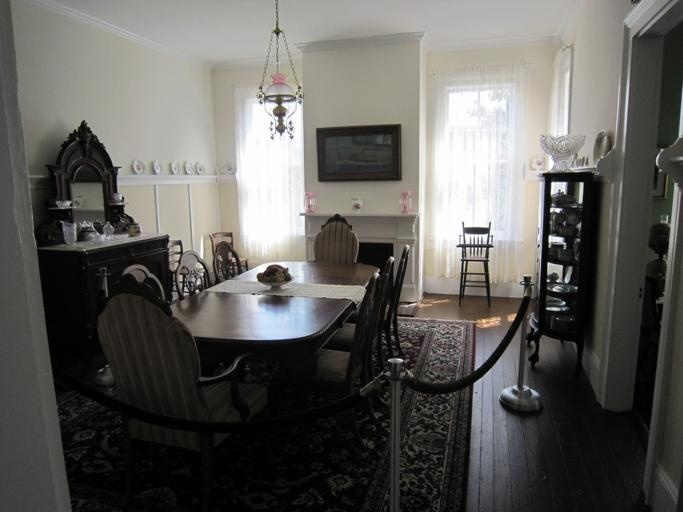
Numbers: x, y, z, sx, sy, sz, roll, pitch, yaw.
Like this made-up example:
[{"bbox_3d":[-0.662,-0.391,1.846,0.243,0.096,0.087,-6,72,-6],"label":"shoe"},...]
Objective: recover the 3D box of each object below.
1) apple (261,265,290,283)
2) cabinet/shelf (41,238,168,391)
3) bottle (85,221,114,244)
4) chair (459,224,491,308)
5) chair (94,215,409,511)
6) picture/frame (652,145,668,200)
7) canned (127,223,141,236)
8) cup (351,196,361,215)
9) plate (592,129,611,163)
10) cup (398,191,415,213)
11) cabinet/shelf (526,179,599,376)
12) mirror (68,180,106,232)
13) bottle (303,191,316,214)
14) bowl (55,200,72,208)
[{"bbox_3d":[-0.544,0.148,4.092,0.152,0.083,0.161,4,6,17],"label":"apple"},{"bbox_3d":[-1.794,0.430,3.599,0.571,1.117,1.096,0,10,8],"label":"cabinet/shelf"},{"bbox_3d":[-2.498,-0.245,5.075,0.305,0.334,0.187,2,-1,-19],"label":"bottle"},{"bbox_3d":[1.759,0.103,6.565,0.493,1.004,0.509,4,9,33],"label":"chair"},{"bbox_3d":[-0.452,0.656,3.143,1.648,1.165,1.766,-1,11,6],"label":"chair"},{"bbox_3d":[2.701,-0.751,4.201,0.272,0.410,0.026,-9,8,-35],"label":"picture/frame"},{"bbox_3d":[-2.353,-0.304,5.583,0.126,0.135,0.133,-2,7,-3],"label":"canned"},{"bbox_3d":[0.201,-0.700,6.546,0.145,0.190,0.155,-1,-2,0],"label":"cup"},{"bbox_3d":[2.161,-0.904,4.105,0.065,0.272,0.521,2,11,19],"label":"plate"},{"bbox_3d":[0.813,-0.702,6.390,0.235,0.345,0.205,-1,6,0],"label":"cup"},{"bbox_3d":[1.942,0.124,4.371,0.516,1.716,0.399,2,11,22],"label":"cabinet/shelf"},{"bbox_3d":[-2.674,-0.574,5.220,0.465,0.521,0.020,1,11,6],"label":"mirror"},{"bbox_3d":[-0.436,-0.738,6.738,0.131,0.278,0.134,-2,10,0],"label":"bottle"},{"bbox_3d":[-2.723,-0.511,4.875,0.120,0.091,0.166,7,14,38],"label":"bowl"}]
